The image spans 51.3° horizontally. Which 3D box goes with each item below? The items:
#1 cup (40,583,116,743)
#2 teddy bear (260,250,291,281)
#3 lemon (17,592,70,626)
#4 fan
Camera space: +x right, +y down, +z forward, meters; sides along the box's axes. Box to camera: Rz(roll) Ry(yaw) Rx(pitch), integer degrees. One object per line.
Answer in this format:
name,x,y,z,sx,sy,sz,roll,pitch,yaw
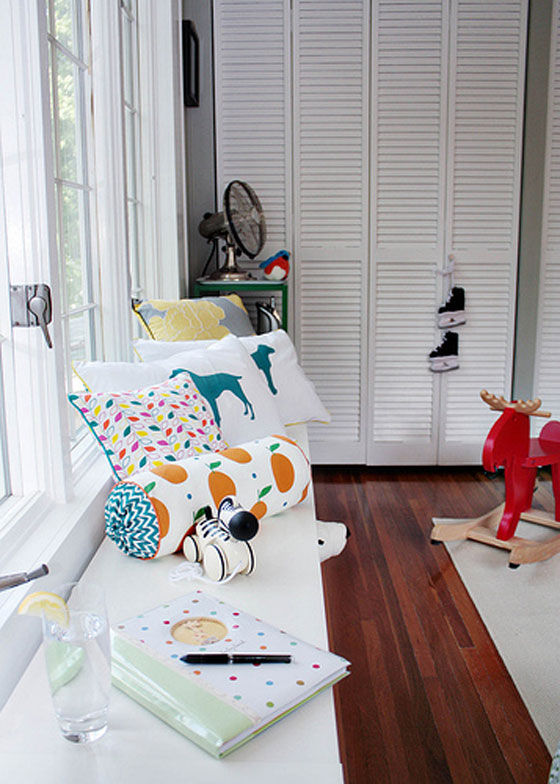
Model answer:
cup,-0.198,0.274,0.585,0.069,0.158,0.053,-9,11,-39
teddy bear,-0.029,-0.630,2.904,0.171,0.180,0.126,6,13,34
lemon,-0.219,0.203,0.542,0.039,0.035,0.032,-2,8,1
fan,-0.244,-0.805,2.907,0.309,0.484,0.754,-3,8,-7
